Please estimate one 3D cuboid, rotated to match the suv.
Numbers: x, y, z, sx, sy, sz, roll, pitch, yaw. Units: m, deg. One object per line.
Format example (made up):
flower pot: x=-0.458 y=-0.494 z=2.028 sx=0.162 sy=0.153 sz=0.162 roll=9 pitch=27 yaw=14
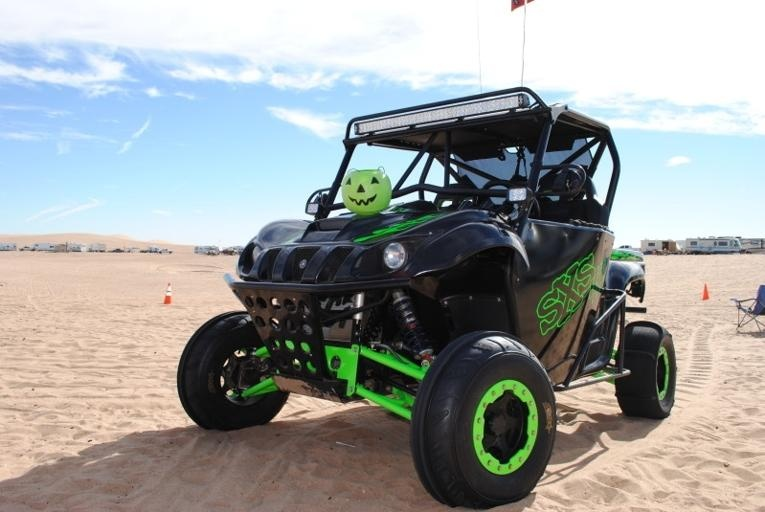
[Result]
suv: x=0.635 y=0.347 z=6.290 sx=3.771 sy=3.315 sz=5.168 roll=-6 pitch=-11 yaw=44
